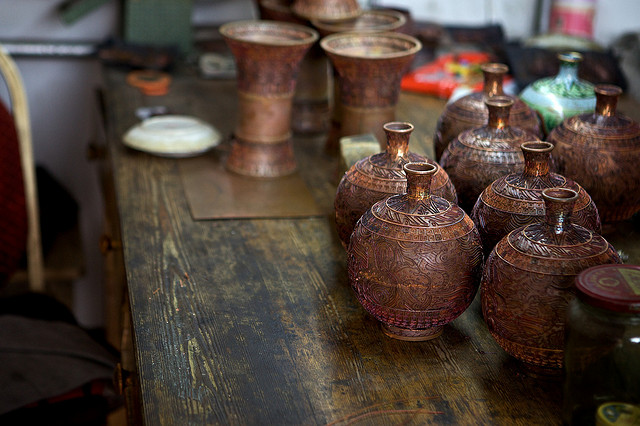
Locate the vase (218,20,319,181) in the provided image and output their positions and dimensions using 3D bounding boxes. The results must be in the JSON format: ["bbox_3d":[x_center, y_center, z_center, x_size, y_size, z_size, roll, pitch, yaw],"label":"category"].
[{"bbox_3d":[-0.164,-0.330,1.616,0.298,0.390,0.296,24,30,33],"label":"vase"}]

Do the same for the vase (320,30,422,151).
[{"bbox_3d":[0.150,-0.345,1.610,0.322,0.411,0.322,7,17,22],"label":"vase"}]

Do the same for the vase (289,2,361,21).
[{"bbox_3d":[0.015,-0.564,1.560,0.201,0.060,0.092,-1,31,-4],"label":"vase"}]

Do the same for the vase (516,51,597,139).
[{"bbox_3d":[0.600,-0.322,1.522,0.217,0.248,0.217,0,15,-7],"label":"vase"}]

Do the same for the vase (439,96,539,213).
[{"bbox_3d":[0.339,-0.153,1.336,0.247,0.286,0.239,-1,18,-5],"label":"vase"}]

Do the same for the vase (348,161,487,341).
[{"bbox_3d":[0.193,0.073,1.114,0.261,0.327,0.269,-15,23,-38],"label":"vase"}]

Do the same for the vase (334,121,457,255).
[{"bbox_3d":[0.129,-0.057,1.299,0.283,0.329,0.269,-1,19,-1],"label":"vase"}]

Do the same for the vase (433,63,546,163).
[{"bbox_3d":[0.405,-0.268,1.446,0.238,0.252,0.238,-2,19,0],"label":"vase"}]
